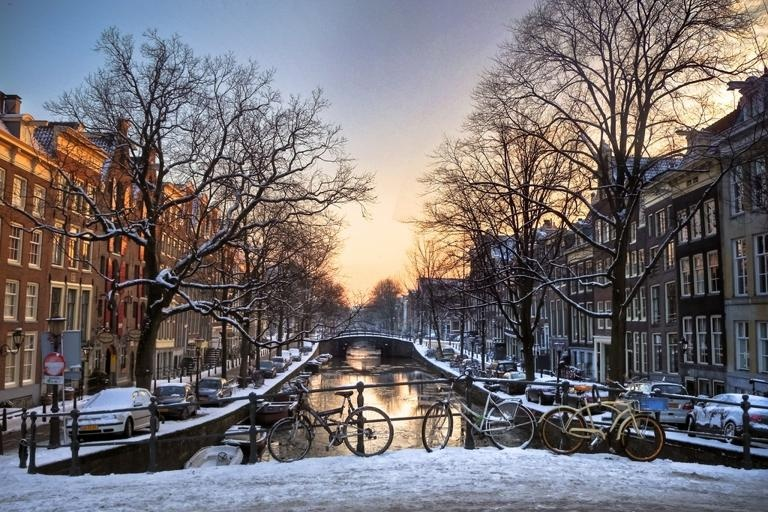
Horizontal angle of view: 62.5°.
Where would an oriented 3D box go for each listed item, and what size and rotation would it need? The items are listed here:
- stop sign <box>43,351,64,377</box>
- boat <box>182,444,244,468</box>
[{"bbox_3d":[-11.445,3.779,22.013,0.873,1.049,0.175,-2,-17,-11],"label":"stop sign"},{"bbox_3d":[-5.021,6.091,18.997,1.451,0.447,1.799,-1,-6,-5],"label":"boat"}]
